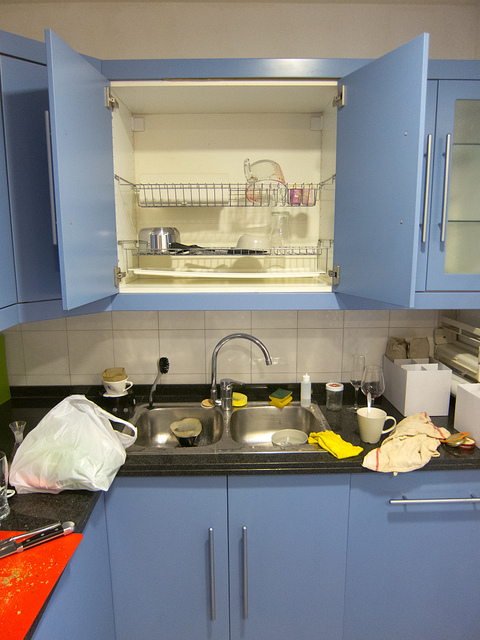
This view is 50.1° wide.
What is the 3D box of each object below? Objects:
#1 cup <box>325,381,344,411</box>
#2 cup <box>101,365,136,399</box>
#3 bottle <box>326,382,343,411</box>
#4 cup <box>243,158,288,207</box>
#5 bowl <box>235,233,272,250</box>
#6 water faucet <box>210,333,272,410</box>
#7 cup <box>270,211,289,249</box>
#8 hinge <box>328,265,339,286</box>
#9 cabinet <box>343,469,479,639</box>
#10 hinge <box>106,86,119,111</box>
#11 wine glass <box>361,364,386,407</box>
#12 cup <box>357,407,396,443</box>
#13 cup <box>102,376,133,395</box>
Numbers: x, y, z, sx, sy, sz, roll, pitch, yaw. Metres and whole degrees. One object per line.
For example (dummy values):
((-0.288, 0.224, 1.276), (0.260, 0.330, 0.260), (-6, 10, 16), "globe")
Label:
((0.356, 0.294, 1.990), (0.079, 0.099, 0.086), (0, 8, 0), "cup")
((-0.470, 0.233, 2.018), (0.122, 0.129, 0.103), (4, 6, 11), "cup")
((0.357, 0.292, 1.994), (0.077, 0.096, 0.081), (7, 13, 32), "bottle")
((0.083, -0.494, 1.883), (0.185, 0.210, 0.146), (-4, 8, -16), "cup")
((0.044, -0.263, 1.719), (0.111, 0.051, 0.088), (-2, 9, -6), "bowl")
((-0.003, 0.200, 1.911), (0.185, 0.315, 0.191), (6, 13, 0), "water faucet")
((0.145, -0.338, 1.892), (0.068, 0.136, 0.232), (0, 9, 5), "cup")
((0.311, -0.146, 1.735), (0.043, 0.098, 0.049), (1, 6, 6), "hinge")
((0.515, 0.725, 1.820), (0.459, 0.784, 0.480), (0, 1, 2), "cabinet")
((-0.397, -0.691, 1.594), (0.011, 0.052, 0.052), (1, 10, 15), "hinge")
((0.501, 0.243, 1.924), (0.088, 0.188, 0.331), (1, 10, 16), "wine glass")
((0.445, 0.344, 1.687), (0.126, 0.103, 0.098), (1, 5, -3), "cup")
((-0.477, 0.248, 1.961), (0.070, 0.041, 0.062), (4, 7, -7), "cup")
